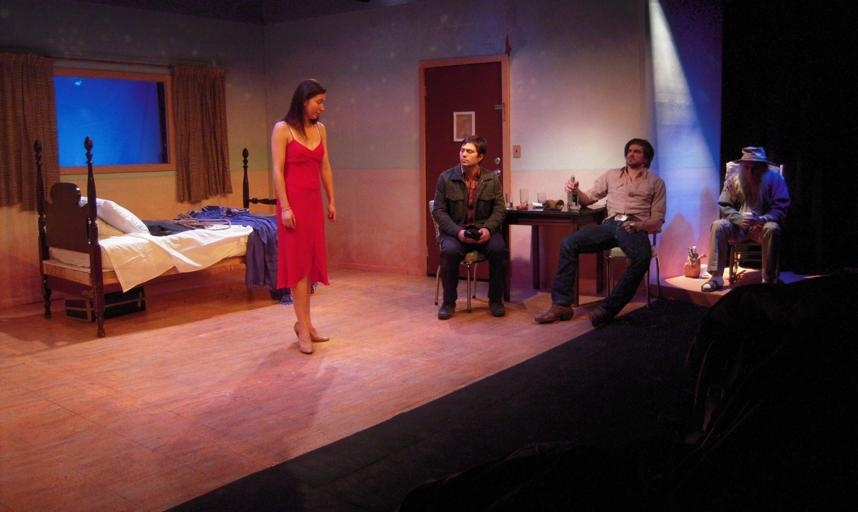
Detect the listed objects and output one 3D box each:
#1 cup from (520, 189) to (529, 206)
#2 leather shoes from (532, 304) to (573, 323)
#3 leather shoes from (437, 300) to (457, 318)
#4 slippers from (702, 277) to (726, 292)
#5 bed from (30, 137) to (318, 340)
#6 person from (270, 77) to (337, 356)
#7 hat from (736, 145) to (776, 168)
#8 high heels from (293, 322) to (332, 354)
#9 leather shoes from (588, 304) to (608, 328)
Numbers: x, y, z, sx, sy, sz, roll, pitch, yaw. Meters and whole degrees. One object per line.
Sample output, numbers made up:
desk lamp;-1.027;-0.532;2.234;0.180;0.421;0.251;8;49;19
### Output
cup;1.046;-0.649;6.345;0.073;0.188;0.059;-2;14;0
leather shoes;1.281;0.577;5.899;0.428;0.207;0.160;-2;3;-27
leather shoes;0.188;0.561;6.037;0.173;0.208;0.492;0;-3;11
slippers;2.970;0.299;6.004;0.259;0.107;0.109;-2;8;-22
bed;-3.471;-0.540;7.586;1.781;2.590;3.253;5;9;32
person;-1.102;-0.305;4.990;0.537;2.364;0.337;-6;15;-17
hat;3.248;-1.011;5.723;0.285;0.166;0.332;6;16;28
high heels;-1.100;0.748;5.237;0.332;0.112;0.222;8;11;39
leather shoes;1.640;0.601;5.594;0.089;0.135;0.227;-41;-23;30
